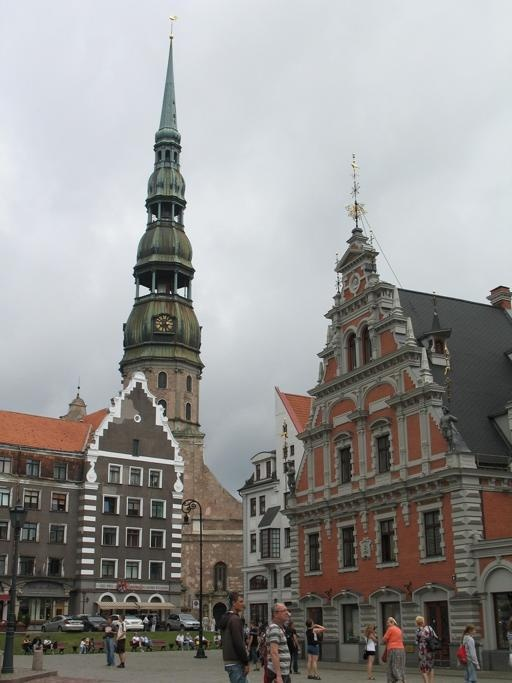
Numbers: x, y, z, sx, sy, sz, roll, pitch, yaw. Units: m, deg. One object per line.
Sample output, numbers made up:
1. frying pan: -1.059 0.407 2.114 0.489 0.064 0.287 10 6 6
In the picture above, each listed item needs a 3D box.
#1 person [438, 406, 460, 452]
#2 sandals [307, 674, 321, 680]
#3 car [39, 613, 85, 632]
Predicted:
1. person: 6.661 3.080 30.881 0.593 1.539 0.864 -6 -23 11
2. sandals: 1.632 9.476 25.251 0.405 0.159 0.135 -1 -11 7
3. car: -12.352 17.764 56.482 2.743 0.805 1.264 -15 -23 41
